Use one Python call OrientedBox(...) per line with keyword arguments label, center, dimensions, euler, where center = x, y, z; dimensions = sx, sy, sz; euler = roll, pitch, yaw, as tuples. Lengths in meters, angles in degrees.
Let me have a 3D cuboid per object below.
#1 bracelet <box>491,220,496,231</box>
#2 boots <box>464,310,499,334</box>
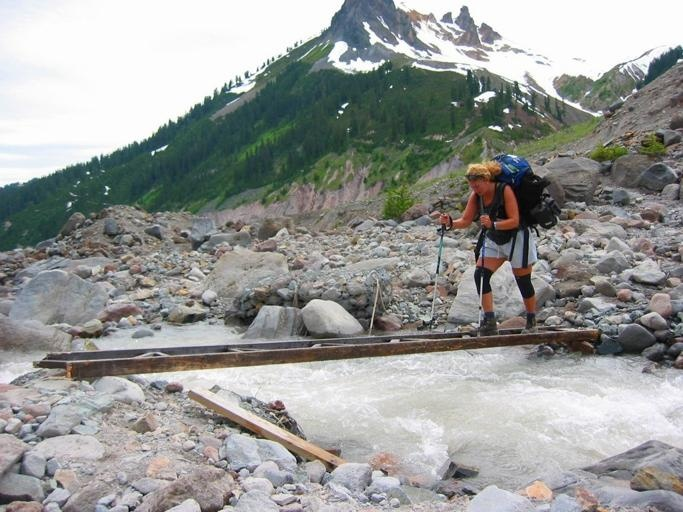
OrientedBox(label="bracelet", center=(2.780, -0.542, 9.037), dimensions=(0.051, 0.125, 0.138), euler=(2, 14, -8))
OrientedBox(label="boots", center=(2.721, 1.298, 9.900), dimensions=(0.788, 0.593, 0.360), euler=(3, 4, 16))
